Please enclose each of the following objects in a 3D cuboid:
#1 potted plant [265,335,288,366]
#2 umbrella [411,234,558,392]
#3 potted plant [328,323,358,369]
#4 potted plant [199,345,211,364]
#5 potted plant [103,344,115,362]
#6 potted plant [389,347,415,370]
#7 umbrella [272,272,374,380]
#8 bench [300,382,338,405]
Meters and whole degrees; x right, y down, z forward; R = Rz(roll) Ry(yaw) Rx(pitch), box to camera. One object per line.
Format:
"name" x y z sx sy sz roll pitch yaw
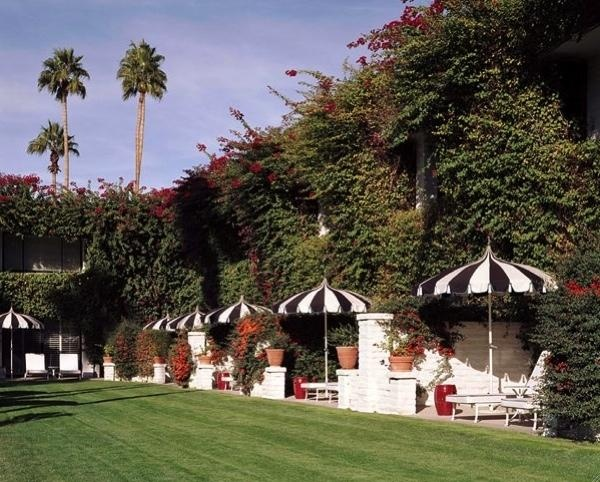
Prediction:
"potted plant" -0.626 3.075 30.116 0.706 1.089 0.723 -1 -9 17
"umbrella" 4.543 2.038 25.179 3.426 3.984 3.467 -2 -4 11
"potted plant" 1.331 2.847 28.320 0.887 1.217 0.885 1 -10 -15
"potted plant" -3.072 3.745 34.914 0.347 0.597 0.664 4 -10 -22
"potted plant" -7.857 4.684 43.862 0.420 0.826 1.891 2 -10 -11
"potted plant" 2.469 2.859 25.475 0.569 0.589 0.637 -2 -10 12
"umbrella" 0.709 2.634 29.170 2.921 3.497 3.022 -1 1 -6
"bench" 0.549 4.135 29.053 1.021 0.586 1.884 0 -10 0
